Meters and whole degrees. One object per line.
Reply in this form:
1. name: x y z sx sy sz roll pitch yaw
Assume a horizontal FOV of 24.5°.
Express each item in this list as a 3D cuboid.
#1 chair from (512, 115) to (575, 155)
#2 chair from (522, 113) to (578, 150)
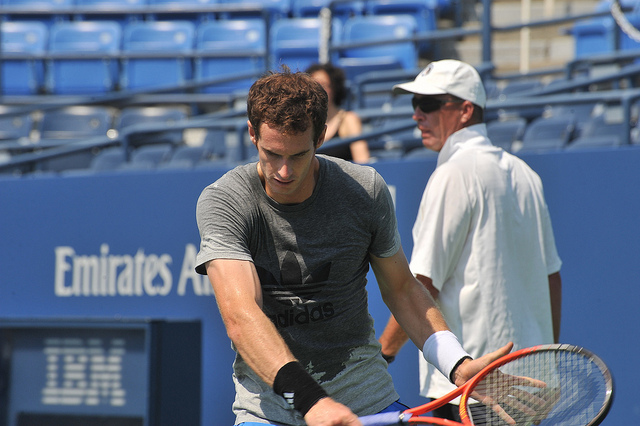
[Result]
1. chair: 2.194 -0.751 14.315 0.422 0.617 0.498 -4 -15 29
2. chair: 2.218 -0.808 14.479 0.393 0.551 0.456 1 -1 24
